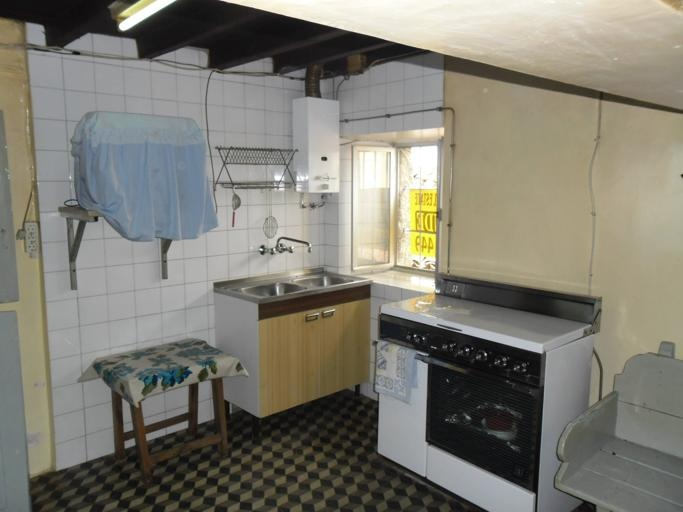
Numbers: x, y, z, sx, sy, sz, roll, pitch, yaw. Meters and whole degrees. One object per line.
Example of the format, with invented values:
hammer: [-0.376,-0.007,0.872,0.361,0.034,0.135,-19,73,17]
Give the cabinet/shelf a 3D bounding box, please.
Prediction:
cabinet/shelf: [-0.404,0.714,4.186,0.624,0.938,1.164,4,4,44]

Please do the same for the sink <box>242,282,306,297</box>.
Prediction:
sink: [-0.535,0.255,4.233,0.259,0.095,0.198,-6,11,-44]

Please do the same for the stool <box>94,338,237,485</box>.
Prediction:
stool: [-1.176,1.011,3.578,0.844,0.696,0.842,4,10,40]

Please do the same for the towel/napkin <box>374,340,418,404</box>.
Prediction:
towel/napkin: [0.340,0.692,3.271,0.077,0.426,0.384,-1,6,-43]
